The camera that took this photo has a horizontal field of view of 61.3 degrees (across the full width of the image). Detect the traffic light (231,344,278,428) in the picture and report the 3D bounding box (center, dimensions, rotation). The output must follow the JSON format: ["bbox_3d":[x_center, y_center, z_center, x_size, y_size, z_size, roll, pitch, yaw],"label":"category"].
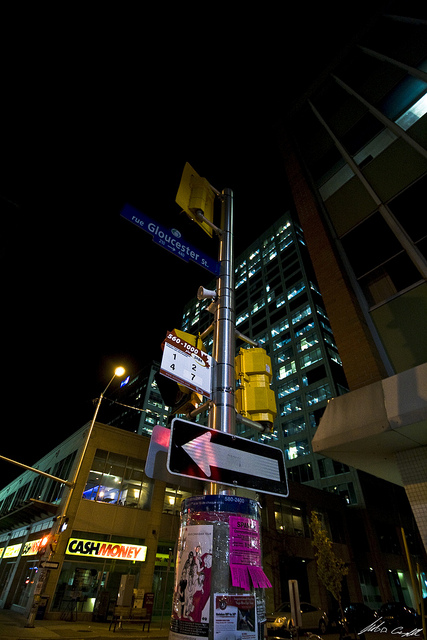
[{"bbox_3d":[0.483,0.817,4.395,0.490,0.994,0.441,23,-39,-34],"label":"traffic light"}]

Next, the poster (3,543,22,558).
[{"bbox_3d":[-15.299,17.614,27.511,0.138,0.972,5.312,24,-44,-28],"label":"poster"}]

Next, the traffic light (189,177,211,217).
[{"bbox_3d":[-0.205,-1.786,5.300,0.232,0.927,0.234,13,-32,-14],"label":"traffic light"}]

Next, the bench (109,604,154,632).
[{"bbox_3d":[-3.831,13.555,16.556,1.219,0.811,2.398,-20,-44,26],"label":"bench"}]

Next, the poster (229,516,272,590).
[{"bbox_3d":[0.269,1.749,2.702,0.067,0.450,0.439,-25,-41,37],"label":"poster"}]

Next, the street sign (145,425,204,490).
[{"bbox_3d":[-0.300,1.127,3.045,0.504,0.561,0.496,10,-37,-10],"label":"street sign"}]

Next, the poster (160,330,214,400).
[{"bbox_3d":[-0.247,0.443,3.709,0.592,0.684,0.024,29,-59,-19],"label":"poster"}]

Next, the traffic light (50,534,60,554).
[{"bbox_3d":[-7.667,10.947,17.511,0.318,0.809,2.255,12,-40,-13],"label":"traffic light"}]

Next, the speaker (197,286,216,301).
[{"bbox_3d":[-0.089,-0.312,4.406,0.202,0.190,0.136,8,-25,-28],"label":"speaker"}]
